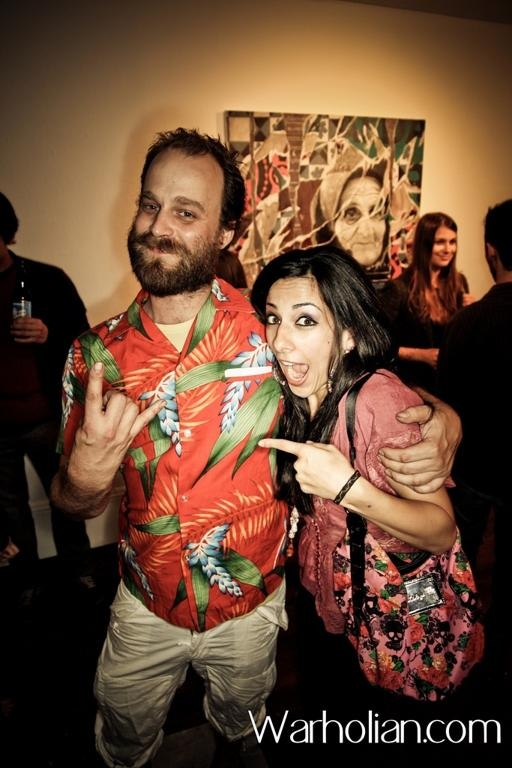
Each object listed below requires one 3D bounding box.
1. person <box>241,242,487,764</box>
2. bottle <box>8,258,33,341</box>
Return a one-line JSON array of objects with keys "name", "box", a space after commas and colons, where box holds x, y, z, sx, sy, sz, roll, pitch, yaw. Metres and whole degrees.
[{"name": "person", "box": [0.294, 0.457, 1.583, 0.596, 1.612, 0.476, 1, 13, 14]}, {"name": "bottle", "box": [-1.120, -0.445, 2.785, 0.097, 0.277, 0.083, -8, 14, -23]}]
